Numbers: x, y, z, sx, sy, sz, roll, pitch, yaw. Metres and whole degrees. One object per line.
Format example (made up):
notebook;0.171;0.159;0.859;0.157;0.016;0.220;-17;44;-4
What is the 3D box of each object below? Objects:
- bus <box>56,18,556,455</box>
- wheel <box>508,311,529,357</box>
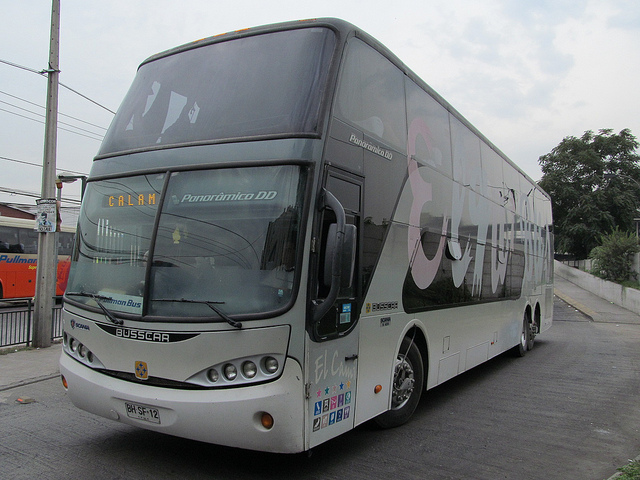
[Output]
bus;3.328;0.385;8.869;14.908;5.222;3.161;6;-5;-42
wheel;5.235;2.487;10.984;0.403;1.437;1.302;-5;-8;30
